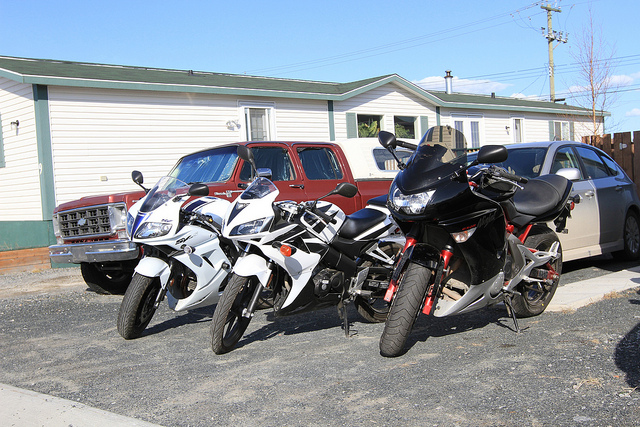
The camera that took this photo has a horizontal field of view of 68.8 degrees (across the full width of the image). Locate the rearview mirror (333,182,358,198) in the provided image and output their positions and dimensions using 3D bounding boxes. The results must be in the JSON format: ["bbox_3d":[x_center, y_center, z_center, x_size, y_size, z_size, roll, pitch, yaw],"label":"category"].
[{"bbox_3d":[0.259,-0.257,5.041,0.243,0.154,0.381,-3,5,1],"label":"rearview mirror"}]

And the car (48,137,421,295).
[{"bbox_3d":[-1.185,-0.073,9.307,3.057,2.062,6.879,-3,2,45],"label":"car"}]

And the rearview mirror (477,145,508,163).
[{"bbox_3d":[1.553,-0.546,4.239,0.239,0.162,0.226,-2,6,17],"label":"rearview mirror"}]

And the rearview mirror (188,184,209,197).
[{"bbox_3d":[-1.431,-0.285,5.465,0.228,0.126,0.140,-5,6,-12],"label":"rearview mirror"}]

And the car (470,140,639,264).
[{"bbox_3d":[4.329,-0.237,7.942,3.724,1.573,2.162,2,-3,-37],"label":"car"}]

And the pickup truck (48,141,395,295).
[{"bbox_3d":[-1.147,-0.092,9.207,6.757,2.171,3.058,-5,0,-41],"label":"pickup truck"}]
